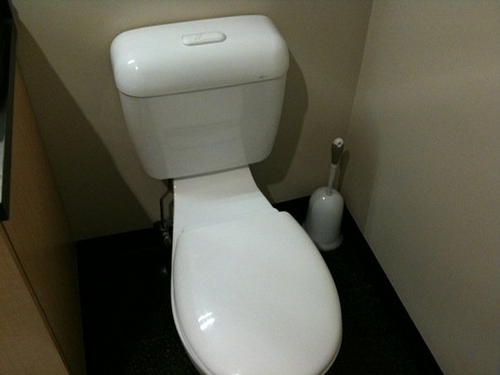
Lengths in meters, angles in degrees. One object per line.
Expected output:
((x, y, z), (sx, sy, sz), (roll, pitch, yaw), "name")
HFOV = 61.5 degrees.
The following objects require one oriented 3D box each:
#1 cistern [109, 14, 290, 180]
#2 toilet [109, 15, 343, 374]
((-0.148, -0.256, 1.590), (0.631, 0.669, 0.463), (-6, 54, -8), "cistern")
((-0.043, -0.013, 1.212), (0.526, 0.509, 0.975), (-16, 51, -12), "toilet")
